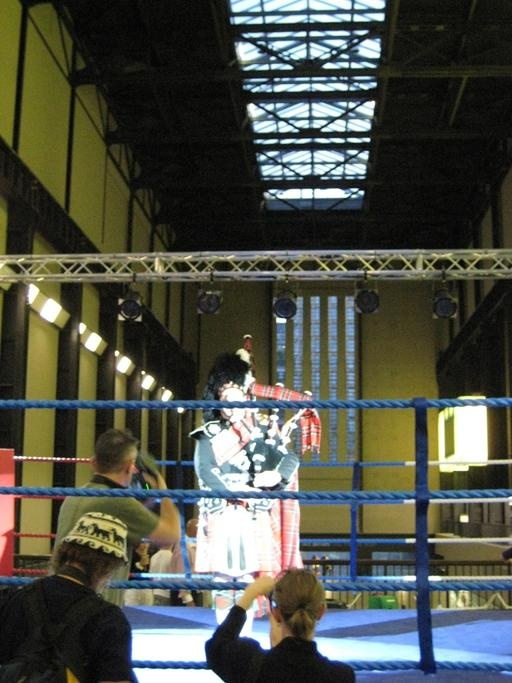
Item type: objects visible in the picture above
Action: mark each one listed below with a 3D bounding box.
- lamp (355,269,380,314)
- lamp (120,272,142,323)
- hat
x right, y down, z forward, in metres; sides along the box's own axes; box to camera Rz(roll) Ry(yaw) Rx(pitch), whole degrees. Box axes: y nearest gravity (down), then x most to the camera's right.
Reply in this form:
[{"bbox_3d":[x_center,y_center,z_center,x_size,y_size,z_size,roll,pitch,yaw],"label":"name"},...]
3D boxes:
[{"bbox_3d":[1.302,-0.570,10.483,0.347,0.460,0.289,1,-3,-5],"label":"lamp"},{"bbox_3d":[-1.524,-0.460,10.510,0.268,0.481,0.643,4,-10,-9],"label":"lamp"},{"bbox_3d":[-0.433,0.543,2.467,0.189,0.092,0.173,24,-12,6],"label":"hat"}]
